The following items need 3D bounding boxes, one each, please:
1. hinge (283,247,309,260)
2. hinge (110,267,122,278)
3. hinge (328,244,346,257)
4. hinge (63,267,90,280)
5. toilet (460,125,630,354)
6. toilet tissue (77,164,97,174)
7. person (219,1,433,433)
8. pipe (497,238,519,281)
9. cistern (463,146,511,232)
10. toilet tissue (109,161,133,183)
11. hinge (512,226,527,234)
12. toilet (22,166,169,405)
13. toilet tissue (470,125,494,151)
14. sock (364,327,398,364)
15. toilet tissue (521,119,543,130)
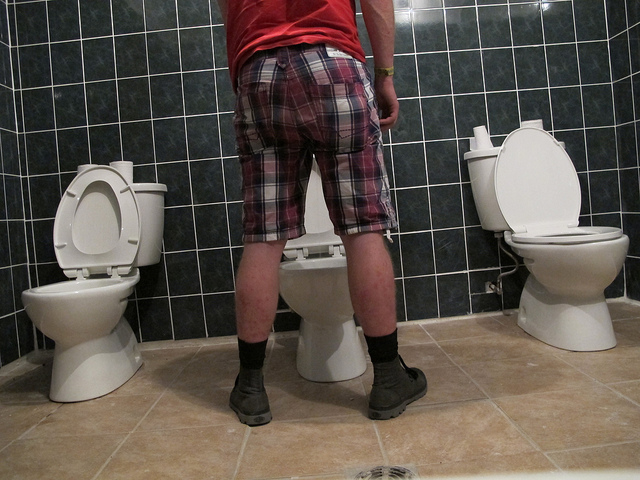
[{"bbox_3d":[-0.118,0.074,2.983,0.090,0.064,0.068,3,-4,-16],"label":"hinge"},{"bbox_3d":[-1.086,0.171,3.028,0.069,0.073,0.037,1,-7,-10],"label":"hinge"},{"bbox_3d":[0.087,0.048,2.945,0.067,0.050,0.099,0,-2,0],"label":"hinge"},{"bbox_3d":[-1.299,0.168,3.049,0.092,0.069,0.074,3,-1,-2],"label":"hinge"},{"bbox_3d":[1.222,-0.034,3.106,0.563,1.103,0.971,-5,7,-11],"label":"toilet"},{"bbox_3d":[-1.314,-0.402,3.209,0.079,0.062,0.079,-4,7,-30],"label":"toilet tissue"},{"bbox_3d":[0.095,-0.178,2.578,0.775,1.741,1.114,-1,10,31],"label":"person"},{"bbox_3d":[1.098,0.104,3.330,0.123,0.244,0.137,-3,9,19],"label":"pipe"},{"bbox_3d":[0.951,-0.297,3.384,0.361,0.467,0.392,-8,4,17],"label":"cistern"},{"bbox_3d":[-1.106,-0.390,3.213,0.117,0.142,0.117,-6,11,-35],"label":"toilet tissue"},{"bbox_3d":[1.083,-0.058,3.084,0.074,0.031,0.038,-4,9,15],"label":"hinge"},{"bbox_3d":[-1.166,0.160,2.982,0.522,1.067,0.806,-4,9,10],"label":"toilet"},{"bbox_3d":[0.916,-0.568,3.285,0.118,0.139,0.139,-21,4,11],"label":"toilet tissue"},{"bbox_3d":[0.249,0.423,2.319,0.110,0.107,0.131,-6,-8,-9],"label":"sock"},{"bbox_3d":[1.226,-0.655,3.285,0.123,0.064,0.251,-3,10,22],"label":"toilet tissue"}]
